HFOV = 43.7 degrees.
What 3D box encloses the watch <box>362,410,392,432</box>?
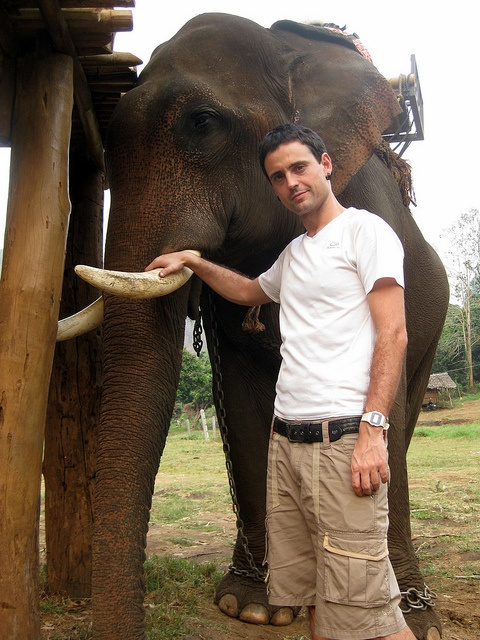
[{"bbox_3d":[0.292,0.214,1.292,0.057,0.032,0.054,13,-18,6],"label":"watch"}]
